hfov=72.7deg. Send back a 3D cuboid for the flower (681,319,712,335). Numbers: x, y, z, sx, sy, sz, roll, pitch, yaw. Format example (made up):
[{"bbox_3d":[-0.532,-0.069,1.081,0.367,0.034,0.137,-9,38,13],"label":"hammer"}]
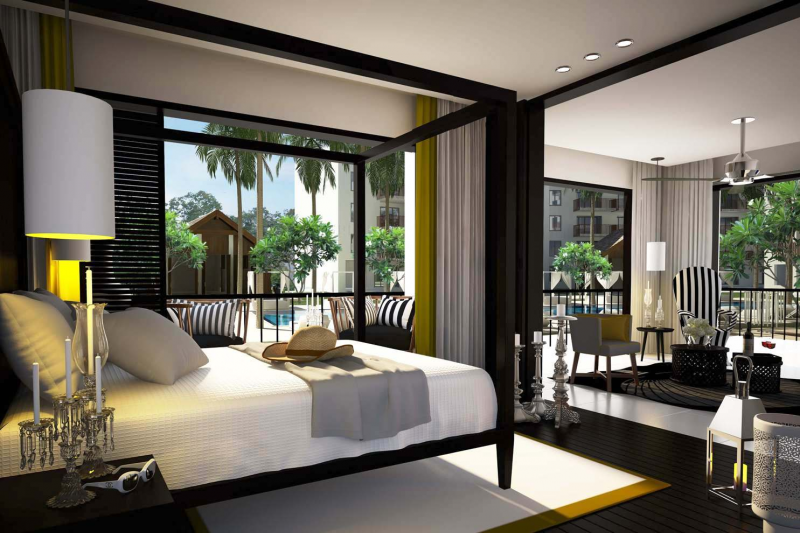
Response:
[{"bbox_3d":[3.674,0.752,6.677,0.240,0.180,0.208,7,-6,-20],"label":"flower"}]

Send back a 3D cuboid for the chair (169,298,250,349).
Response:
[{"bbox_3d":[-2.216,0.641,6.228,0.707,0.498,0.284,-2,-34,0],"label":"chair"}]

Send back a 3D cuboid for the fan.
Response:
[{"bbox_3d":[4.287,-1.217,6.583,1.286,0.564,1.326,-1,0,2],"label":"fan"}]

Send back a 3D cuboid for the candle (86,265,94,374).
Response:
[{"bbox_3d":[-1.574,0.336,2.739,0.037,0.397,0.179,-3,6,-30],"label":"candle"}]

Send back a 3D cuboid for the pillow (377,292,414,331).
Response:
[{"bbox_3d":[-0.056,0.588,6.842,0.124,0.402,0.404,27,-24,-39],"label":"pillow"}]

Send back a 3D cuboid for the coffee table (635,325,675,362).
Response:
[{"bbox_3d":[4.092,1.171,8.686,0.604,0.594,0.602,-1,-1,13],"label":"coffee table"}]

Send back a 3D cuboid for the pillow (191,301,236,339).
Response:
[{"bbox_3d":[-2.295,0.666,6.622,0.389,0.304,0.140,-1,-8,1],"label":"pillow"}]

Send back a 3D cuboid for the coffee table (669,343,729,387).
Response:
[{"bbox_3d":[3.712,1.196,6.689,0.511,0.371,0.533,0,-2,-20],"label":"coffee table"}]

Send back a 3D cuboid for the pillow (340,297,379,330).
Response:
[{"bbox_3d":[-0.545,0.599,7.152,0.595,0.398,0.175,-1,-10,-38],"label":"pillow"}]

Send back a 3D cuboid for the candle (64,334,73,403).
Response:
[{"bbox_3d":[-1.651,0.493,2.688,0.038,0.307,0.252,-3,7,-32],"label":"candle"}]

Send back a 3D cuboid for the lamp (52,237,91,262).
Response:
[{"bbox_3d":[-2.754,-0.095,4.519,0.252,0.172,0.261,1,-2,-27],"label":"lamp"}]

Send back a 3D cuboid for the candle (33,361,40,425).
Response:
[{"bbox_3d":[-1.704,0.586,2.525,0.025,0.291,0.072,-3,7,-35],"label":"candle"}]

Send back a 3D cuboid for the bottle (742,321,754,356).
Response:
[{"bbox_3d":[3.719,0.775,5.767,0.089,0.366,0.255,4,7,32],"label":"bottle"}]

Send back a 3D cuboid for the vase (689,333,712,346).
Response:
[{"bbox_3d":[3.726,0.912,6.726,0.172,0.111,0.174,4,-6,-42],"label":"vase"}]

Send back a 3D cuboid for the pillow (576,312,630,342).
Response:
[{"bbox_3d":[2.491,0.711,6.554,0.428,0.286,0.447,0,0,-19],"label":"pillow"}]

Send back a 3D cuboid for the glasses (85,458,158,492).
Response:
[{"bbox_3d":[-1.354,1.030,2.652,0.158,0.055,0.161,1,-1,12],"label":"glasses"}]
